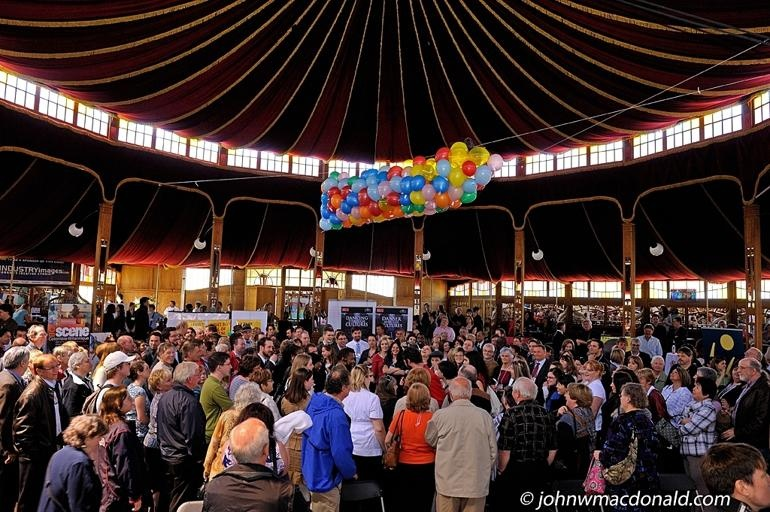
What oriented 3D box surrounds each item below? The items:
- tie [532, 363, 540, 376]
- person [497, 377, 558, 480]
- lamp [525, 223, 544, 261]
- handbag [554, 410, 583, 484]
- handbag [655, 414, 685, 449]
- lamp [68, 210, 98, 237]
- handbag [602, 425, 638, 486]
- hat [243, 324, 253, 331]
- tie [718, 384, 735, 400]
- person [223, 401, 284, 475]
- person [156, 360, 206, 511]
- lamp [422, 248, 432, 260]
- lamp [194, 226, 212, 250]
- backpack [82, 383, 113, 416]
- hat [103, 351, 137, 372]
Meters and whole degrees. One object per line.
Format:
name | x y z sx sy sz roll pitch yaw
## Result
tie | 3.228 2.427 13.487 0.061 0.249 0.141 12 14 -38
person | 2.235 2.744 10.078 0.879 1.562 0.284 -2 -10 9
lamp | 5.718 -0.402 24.235 0.839 1.195 0.240 3 24 38
handbag | 2.961 3.086 10.256 0.324 1.276 0.565 -18 34 -16
handbag | 4.662 2.894 10.353 0.538 0.379 0.288 47 -33 -18
lamp | -9.930 -1.085 20.829 0.961 0.834 0.649 -1 -10 7
handbag | 3.436 2.934 9.326 0.248 0.716 0.512 16 9 15
hat | -3.420 1.767 15.654 0.213 0.054 0.200 1 2 -7
tie | 6.298 2.470 11.727 0.229 0.319 0.115 14 35 -26
person | -1.805 2.512 8.590 0.612 0.690 1.563 -14 3 -11
person | -3.250 2.849 10.051 0.764 2.301 0.518 1 -10 -4
lamp | 1.752 -0.029 26.404 0.347 0.342 0.544 -1 -10 4
lamp | -6.992 -0.677 24.093 0.616 0.767 0.822 4 -11 -20
backpack | -4.445 2.232 9.774 0.239 0.481 0.348 12 -20 31
hat | -4.382 1.717 10.425 0.399 0.231 0.282 -7 7 -34
